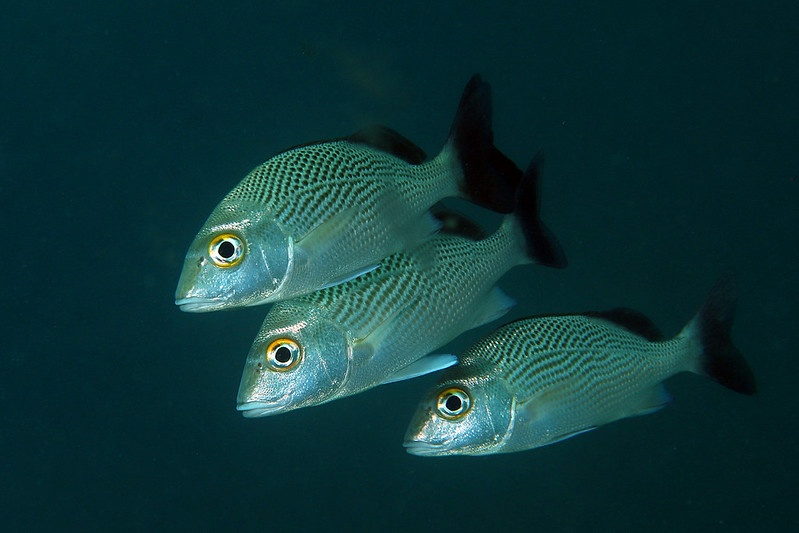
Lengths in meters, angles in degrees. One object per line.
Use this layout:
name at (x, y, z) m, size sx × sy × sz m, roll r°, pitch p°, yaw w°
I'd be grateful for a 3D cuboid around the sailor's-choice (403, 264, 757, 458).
sailor's-choice at (0.885, 0.532, 4.710) m, size 1.683 × 0.662 × 0.560 m, roll -10°, pitch 0°, yaw -9°
